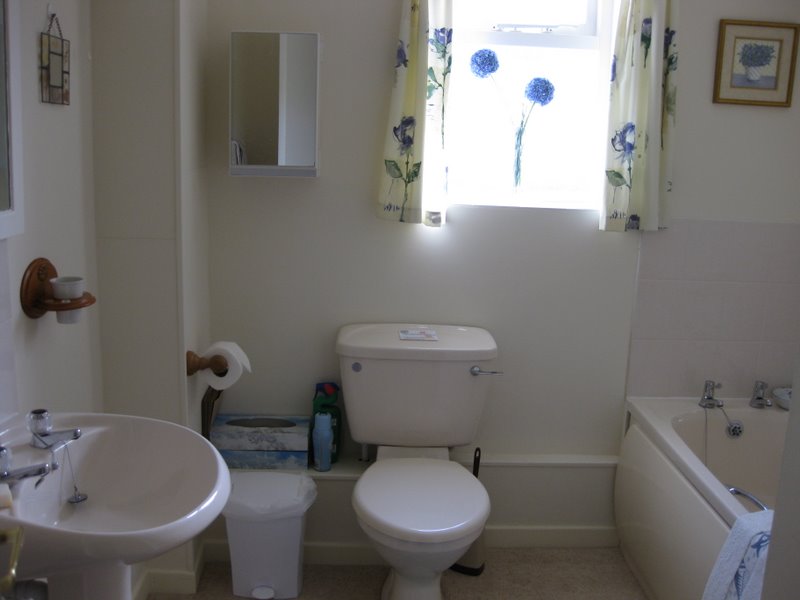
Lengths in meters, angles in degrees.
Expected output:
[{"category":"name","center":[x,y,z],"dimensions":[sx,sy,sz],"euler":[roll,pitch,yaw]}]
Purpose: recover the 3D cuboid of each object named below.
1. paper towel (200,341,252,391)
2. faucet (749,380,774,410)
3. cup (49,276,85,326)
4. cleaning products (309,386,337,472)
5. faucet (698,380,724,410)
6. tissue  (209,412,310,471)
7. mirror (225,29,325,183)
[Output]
[{"category":"paper towel","center":[-0.686,0.230,2.588],"dimensions":[0.166,0.222,0.170],"euler":[0,15,-22]},{"category":"faucet","center":[1.570,0.410,2.890],"dimensions":[0.100,0.140,0.116],"euler":[-1,0,-28]},{"category":"cup","center":[-0.961,0.003,1.895],"dimensions":[0.082,0.139,0.068],"euler":[-7,16,-30]},{"category":"cleaning products","center":[-0.316,0.513,2.766],"dimensions":[0.129,0.342,0.200],"euler":[-1,14,-6]},{"category":"faucet","center":[1.332,0.400,2.814],"dimensions":[0.117,0.146,0.102],"euler":[-3,-2,42]},{"category":"tissue ","center":[-0.570,0.580,2.679],"dimensions":[0.362,0.194,0.197],"euler":[1,19,-4]},{"category":"mirror","center":[-0.490,-0.769,2.520],"dimensions":[0.511,0.818,0.079],"euler":[1,5,-6]}]
